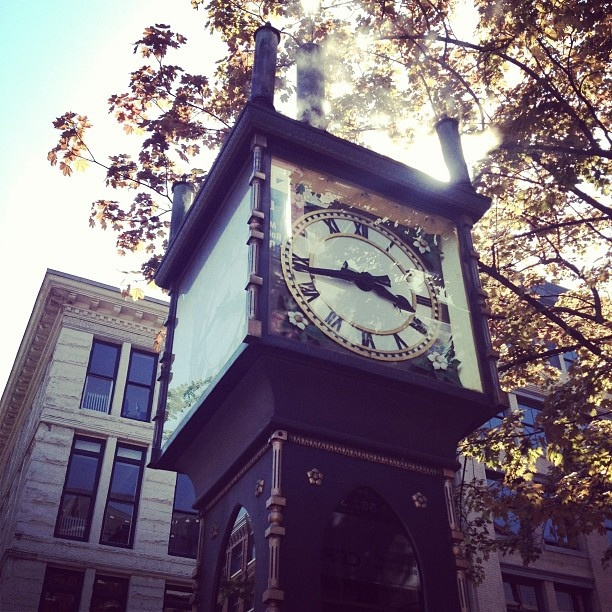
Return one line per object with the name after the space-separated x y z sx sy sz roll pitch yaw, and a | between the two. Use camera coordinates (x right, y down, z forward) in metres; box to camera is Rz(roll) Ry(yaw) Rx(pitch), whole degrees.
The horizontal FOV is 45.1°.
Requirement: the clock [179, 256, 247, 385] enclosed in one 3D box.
-0.885 0.169 7.139 0.034 0.800 1.173 12 -46 -20 | clock

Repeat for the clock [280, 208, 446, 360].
0.523 -0.224 6.791 1.687 1.680 0.192 19 -36 -24 | clock
